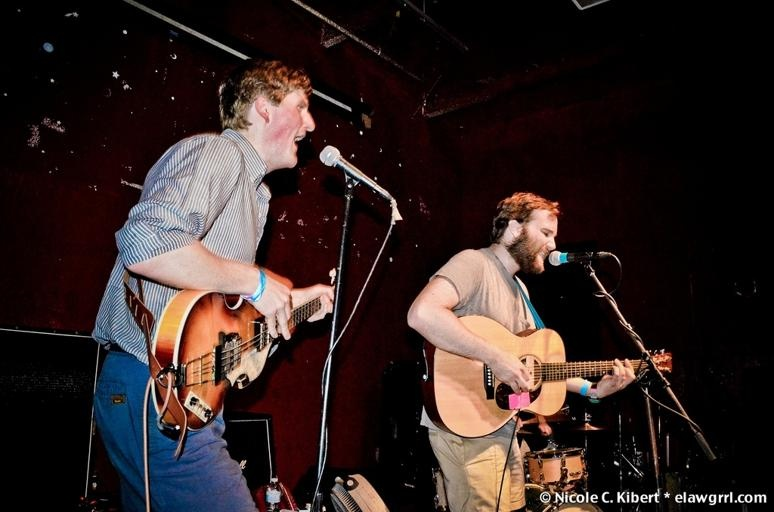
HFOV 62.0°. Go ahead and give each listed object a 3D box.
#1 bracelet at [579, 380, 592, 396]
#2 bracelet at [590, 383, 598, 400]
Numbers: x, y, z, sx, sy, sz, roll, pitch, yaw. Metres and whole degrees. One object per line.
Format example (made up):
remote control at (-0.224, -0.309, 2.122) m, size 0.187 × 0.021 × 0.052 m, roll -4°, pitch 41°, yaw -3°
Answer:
bracelet at (1.671, 1.101, 5.385) m, size 0.088 × 0.160 × 0.111 m, roll 2°, pitch -23°, yaw 25°
bracelet at (1.714, 1.122, 5.316) m, size 0.074 × 0.114 × 0.033 m, roll 2°, pitch -2°, yaw -19°
